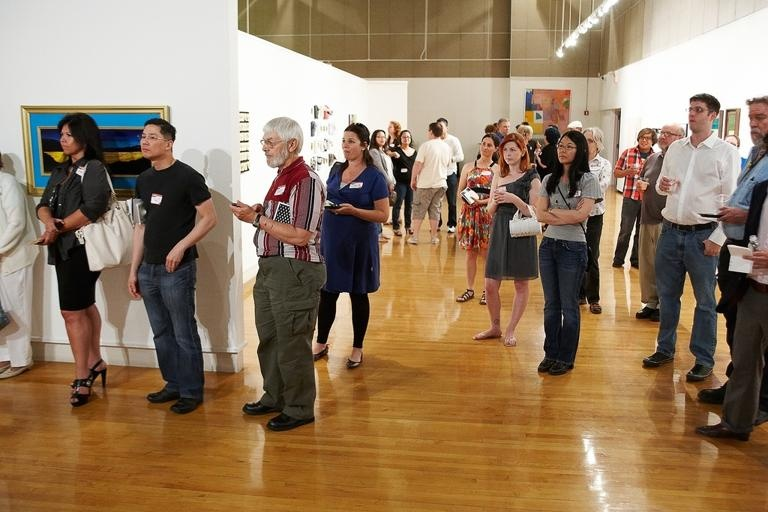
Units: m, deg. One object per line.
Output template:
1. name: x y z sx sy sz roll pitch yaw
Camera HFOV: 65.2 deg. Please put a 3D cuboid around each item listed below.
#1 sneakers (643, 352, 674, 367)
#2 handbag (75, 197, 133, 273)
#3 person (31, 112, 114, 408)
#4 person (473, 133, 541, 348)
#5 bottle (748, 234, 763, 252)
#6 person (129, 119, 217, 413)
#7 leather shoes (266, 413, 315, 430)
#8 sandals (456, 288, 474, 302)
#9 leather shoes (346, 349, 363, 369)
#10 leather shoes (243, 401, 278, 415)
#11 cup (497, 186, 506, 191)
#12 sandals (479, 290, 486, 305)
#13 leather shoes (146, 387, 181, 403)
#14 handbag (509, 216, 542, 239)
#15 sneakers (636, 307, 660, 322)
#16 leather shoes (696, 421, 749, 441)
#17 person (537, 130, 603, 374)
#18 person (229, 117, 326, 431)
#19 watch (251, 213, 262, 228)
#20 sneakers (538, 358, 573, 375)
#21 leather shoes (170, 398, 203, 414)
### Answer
1. sneakers: 2.522 0.970 5.640 0.317 0.126 0.119 -6 2 -6
2. handbag: -2.325 -0.180 4.950 0.252 0.563 0.451 3 25 36
3. person: -2.580 0.000 5.054 0.625 2.334 0.580 11 18 42
4. person: 1.197 -0.131 5.857 0.601 2.088 0.490 5 15 24
5. bottle: 2.594 -0.091 4.218 0.091 0.106 0.085 2 14 10
6. person: -1.753 0.069 4.892 0.666 2.305 0.535 10 17 39
7. leather shoes: -0.743 1.284 4.697 0.308 0.125 0.124 6 -1 -21
8. sandals: 0.985 0.493 7.404 0.098 0.113 0.286 0 0 31
9. leather shoes: -0.288 0.963 5.579 0.087 0.100 0.238 -1 -1 9
10. leather shoes: -1.011 1.237 4.891 0.255 0.111 0.110 8 -2 -7
11. cup: 1.106 -0.645 5.712 0.080 0.045 0.075 -1 10 0
12. sandals: 1.185 0.508 7.258 0.100 0.164 0.280 0 0 10
13. leather shoes: -1.844 1.160 5.031 0.239 0.090 0.124 3 6 -11
14. handbag: 1.278 -0.268 5.509 0.180 0.183 0.080 -5 8 22
15. sneakers: 2.933 0.651 6.718 0.295 0.128 0.111 5 10 24
16. leather shoes: 2.521 1.326 4.552 0.359 0.147 0.134 5 0 21
17. person: 1.588 -0.013 5.334 0.515 2.157 0.381 4 14 19
18. person: -0.775 0.148 4.584 0.655 2.330 0.497 -2 13 -6
19. watch: -0.940 -0.267 4.417 0.062 0.101 0.096 12 37 -10
20. sneakers: 1.549 1.014 5.473 0.247 0.092 0.142 3 7 -15
21. leather shoes: -1.605 1.230 4.909 0.092 0.097 0.228 -1 -8 19
